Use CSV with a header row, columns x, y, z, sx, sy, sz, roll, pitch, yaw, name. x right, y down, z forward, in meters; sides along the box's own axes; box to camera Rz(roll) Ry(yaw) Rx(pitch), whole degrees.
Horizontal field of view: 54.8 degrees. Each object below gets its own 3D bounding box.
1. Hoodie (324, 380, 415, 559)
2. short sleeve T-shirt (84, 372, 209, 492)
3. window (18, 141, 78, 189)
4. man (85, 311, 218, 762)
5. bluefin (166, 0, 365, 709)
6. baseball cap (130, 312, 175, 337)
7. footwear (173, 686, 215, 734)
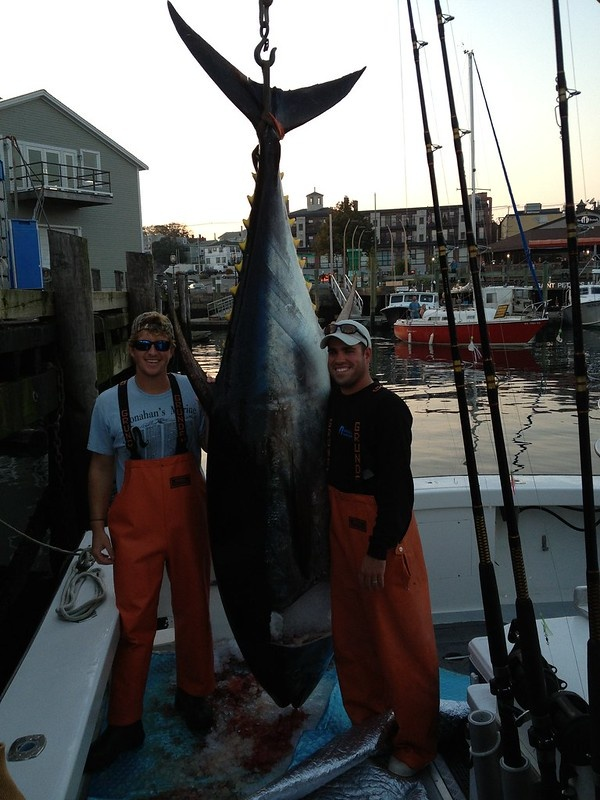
x,y,z,sx,sy,sz,roll,pitch,yaw,name
0.193,0.209,1.647,0.166,0.453,0.494,-3,1,-15,Hoodie
-0.499,0.126,1.967,0.399,0.404,0.225,-4,14,-24,short sleeve T-shirt
-7.902,-7.414,18.395,1.597,1.545,1.029,-2,2,-23,window
-0.445,0.422,1.864,0.474,1.395,0.478,-3,3,-23,man
-0.108,-0.029,1.689,0.526,2.040,0.259,-2,2,-37,bluefin
-0.488,-0.271,1.956,0.096,0.058,0.133,2,10,2,baseball cap
-0.380,1.114,2.126,0.081,0.180,0.174,-2,-5,-38,footwear
